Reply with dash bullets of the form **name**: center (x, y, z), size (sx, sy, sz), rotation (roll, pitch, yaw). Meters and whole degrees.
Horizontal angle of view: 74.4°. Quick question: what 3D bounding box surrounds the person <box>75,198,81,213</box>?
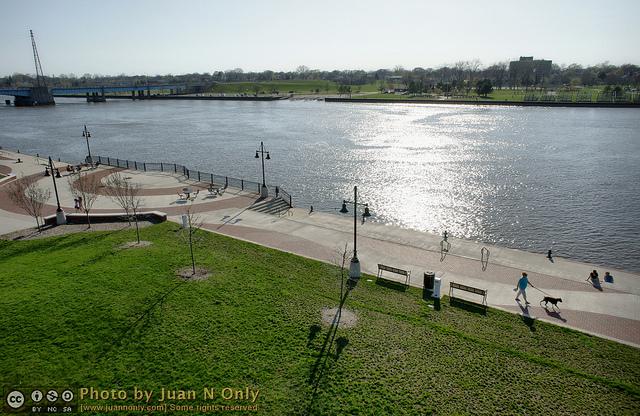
- **person**: center (-23.403, -0.267, 40.428), size (0.471, 1.233, 0.935), rotation (-11, 18, -28)

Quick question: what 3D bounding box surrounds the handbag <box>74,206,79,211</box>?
- **handbag**: center (-23.427, 0.019, 40.500), size (0.395, 0.473, 0.136), rotation (11, 4, 17)

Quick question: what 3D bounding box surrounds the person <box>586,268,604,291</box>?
- **person**: center (20.562, 5.342, 31.485), size (1.029, 0.987, 1.794), rotation (5, 16, 22)

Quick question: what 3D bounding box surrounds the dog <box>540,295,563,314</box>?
- **dog**: center (15.620, 6.521, 28.579), size (1.241, 1.014, 1.118), rotation (6, 17, 25)

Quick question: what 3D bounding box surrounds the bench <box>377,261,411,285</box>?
- **bench**: center (5.549, 4.795, 31.881), size (2.538, 1.229, 2.084), rotation (3, 15, 14)

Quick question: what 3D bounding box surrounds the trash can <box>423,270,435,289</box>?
- **trash can**: center (7.861, 5.272, 30.423), size (0.734, 1.191, 0.639), rotation (2, 16, 14)
